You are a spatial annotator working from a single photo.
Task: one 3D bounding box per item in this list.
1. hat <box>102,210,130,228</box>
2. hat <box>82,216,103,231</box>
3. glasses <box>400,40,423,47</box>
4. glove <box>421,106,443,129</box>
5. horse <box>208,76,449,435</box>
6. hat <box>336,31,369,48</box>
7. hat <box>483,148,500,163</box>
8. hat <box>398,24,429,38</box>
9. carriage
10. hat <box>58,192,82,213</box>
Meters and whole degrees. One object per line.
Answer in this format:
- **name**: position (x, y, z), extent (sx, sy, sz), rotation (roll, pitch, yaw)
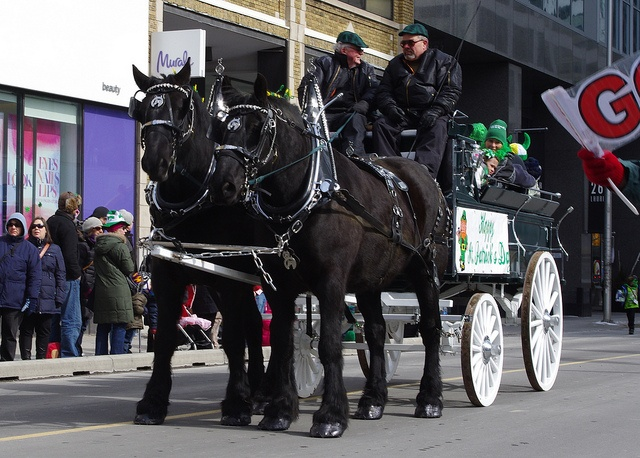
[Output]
- **hat**: position (-3.281, -0.166, 16.996), extent (0.275, 0.161, 0.344), rotation (-13, 1, 1)
- **hat**: position (-3.749, -0.086, 17.430), extent (0.253, 0.193, 0.233), rotation (9, 3, 2)
- **glasses**: position (1.307, -2.635, 15.081), extent (0.158, 0.049, 0.146), rotation (0, -2, -39)
- **glove**: position (1.546, -1.532, 14.568), extent (0.204, 0.133, 0.347), rotation (20, 42, 26)
- **horse**: position (0.104, 0.382, 12.406), extent (1.098, 4.023, 3.451), rotation (-8, -13, 40)
- **hat**: position (0.477, -2.751, 15.457), extent (0.362, 0.145, 0.253), rotation (3, 6, -11)
- **hat**: position (2.545, -1.107, 15.860), extent (0.243, 0.133, 0.182), rotation (16, -5, -32)
- **hat**: position (1.363, -2.837, 15.041), extent (0.326, 0.120, 0.232), rotation (3, 4, -25)
- **carriage**: position (1.014, 0.496, 13.895), extent (2.688, 3.880, 7.052), rotation (-7, -10, 34)
- **hat**: position (-4.154, -0.436, 17.498), extent (0.301, 0.331, 0.365), rotation (3, 10, -1)
